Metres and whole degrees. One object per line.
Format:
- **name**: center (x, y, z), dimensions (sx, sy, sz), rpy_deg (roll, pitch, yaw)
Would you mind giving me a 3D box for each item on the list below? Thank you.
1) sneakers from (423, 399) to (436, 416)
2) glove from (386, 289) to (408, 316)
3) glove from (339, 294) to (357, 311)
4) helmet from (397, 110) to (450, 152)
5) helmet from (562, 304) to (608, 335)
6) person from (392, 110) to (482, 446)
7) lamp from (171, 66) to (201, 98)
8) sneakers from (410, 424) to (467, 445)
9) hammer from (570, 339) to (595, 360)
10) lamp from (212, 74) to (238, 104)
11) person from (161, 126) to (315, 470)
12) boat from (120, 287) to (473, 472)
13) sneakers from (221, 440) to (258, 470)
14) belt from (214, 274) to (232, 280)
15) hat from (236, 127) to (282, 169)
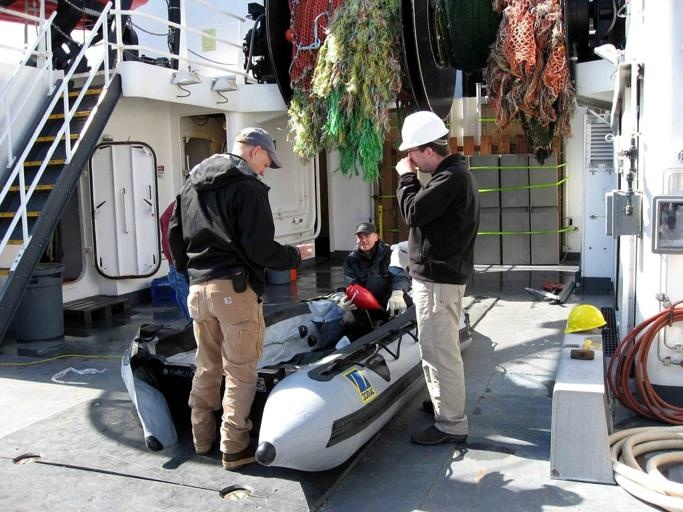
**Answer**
- **sneakers**: center (0.726, 1.261, 4.687), dimensions (0.103, 0.054, 0.146), rpy_deg (0, 2, 9)
- **glove**: center (0.516, 0.442, 5.263), dimensions (0.148, 0.087, 0.241), rpy_deg (-2, 51, 6)
- **glove**: center (0.058, 0.452, 5.222), dimensions (0.049, 0.126, 0.155), rpy_deg (22, -8, -13)
- **helmet**: center (0.582, -0.898, 4.040), dimensions (0.296, 0.167, 0.255), rpy_deg (-17, 14, 10)
- **helmet**: center (2.052, 0.523, 4.716), dimensions (0.304, 0.193, 0.233), rpy_deg (-19, 9, -6)
- **person**: center (0.698, 0.179, 4.115), dimensions (0.584, 2.437, 0.418), rpy_deg (1, 11, 12)
- **lamp**: center (-2.136, -2.423, 7.854), dimensions (0.362, 0.530, 0.401), rpy_deg (5, 10, 13)
- **sneakers**: center (0.729, 1.320, 4.239), dimensions (0.417, 0.185, 0.160), rpy_deg (2, -3, 3)
- **hammer**: center (1.842, 0.706, 4.271), dimensions (0.119, 0.085, 0.168), rpy_deg (-8, 8, 37)
- **lamp**: center (-1.745, -2.480, 8.329), dimensions (0.387, 0.361, 0.287), rpy_deg (-4, 11, -13)
- **person**: center (-0.744, 0.286, 3.984), dimensions (0.927, 2.356, 0.636), rpy_deg (-3, 11, -6)
- **boat**: center (-0.191, 0.914, 4.161), dimensions (1.314, 0.703, 2.495), rpy_deg (6, 13, 28)
- **sneakers**: center (-0.707, 1.425, 3.993), dimensions (0.122, 0.157, 0.332), rpy_deg (4, 9, 23)
- **belt**: center (-0.801, 0.140, 3.779), dimensions (0.101, 0.035, 0.021), rpy_deg (-2, 11, -5)
- **hat**: center (-0.559, -0.836, 4.062), dimensions (0.353, 0.213, 0.239), rpy_deg (23, 0, -39)
